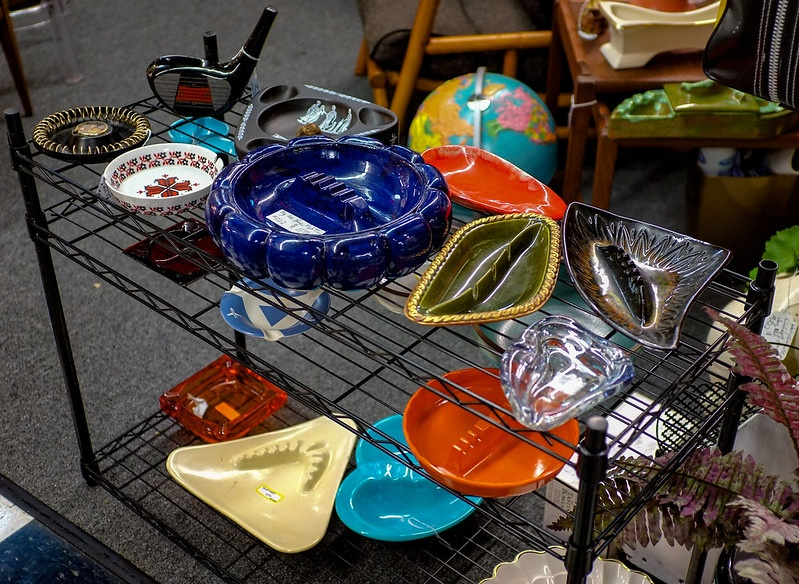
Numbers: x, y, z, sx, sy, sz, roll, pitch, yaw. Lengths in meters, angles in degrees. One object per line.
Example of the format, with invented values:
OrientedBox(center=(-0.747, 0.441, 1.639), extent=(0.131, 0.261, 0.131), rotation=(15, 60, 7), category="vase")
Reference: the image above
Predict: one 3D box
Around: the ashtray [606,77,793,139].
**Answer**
OrientedBox(center=(0.739, -0.439, 1.721), extent=(0.316, 0.069, 0.204), rotation=(-1, 37, -2), category="ashtray")

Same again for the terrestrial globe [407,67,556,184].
OrientedBox(center=(0.275, -0.478, 2.238), extent=(0.365, 0.455, 0.457), rotation=(2, 67, 13), category="terrestrial globe")

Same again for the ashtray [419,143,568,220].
OrientedBox(center=(0.156, -0.182, 1.181), extent=(0.222, 0.041, 0.133), rotation=(22, 54, 9), category="ashtray")

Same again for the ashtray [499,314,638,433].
OrientedBox(center=(0.211, 0.111, 0.906), extent=(0.151, 0.065, 0.161), rotation=(29, 52, 35), category="ashtray")

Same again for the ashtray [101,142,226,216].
OrientedBox(center=(-0.452, -0.221, 1.355), extent=(0.191, 0.200, 0.049), rotation=(-18, 76, 8), category="ashtray")

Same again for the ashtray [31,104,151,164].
OrientedBox(center=(-0.565, -0.286, 1.312), extent=(0.200, 0.054, 0.208), rotation=(16, 33, 19), category="ashtray")

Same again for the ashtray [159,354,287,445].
OrientedBox(center=(-0.423, 0.267, 1.697), extent=(0.258, 0.063, 0.273), rotation=(-2, 35, -20), category="ashtray")

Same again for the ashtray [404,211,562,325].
OrientedBox(center=(0.135, -0.027, 1.023), extent=(0.179, 0.039, 0.266), rotation=(21, 54, 18), category="ashtray")

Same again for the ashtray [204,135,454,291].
OrientedBox(center=(-0.120, -0.129, 1.081), extent=(0.280, 0.074, 0.285), rotation=(-25, 46, -30), category="ashtray")

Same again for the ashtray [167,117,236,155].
OrientedBox(center=(-0.388, -0.315, 1.408), extent=(0.105, 0.027, 0.112), rotation=(33, 52, 7), category="ashtray")

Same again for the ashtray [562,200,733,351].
OrientedBox(center=(0.331, -0.042, 1.021), extent=(0.233, 0.050, 0.227), rotation=(32, 58, 24), category="ashtray")
